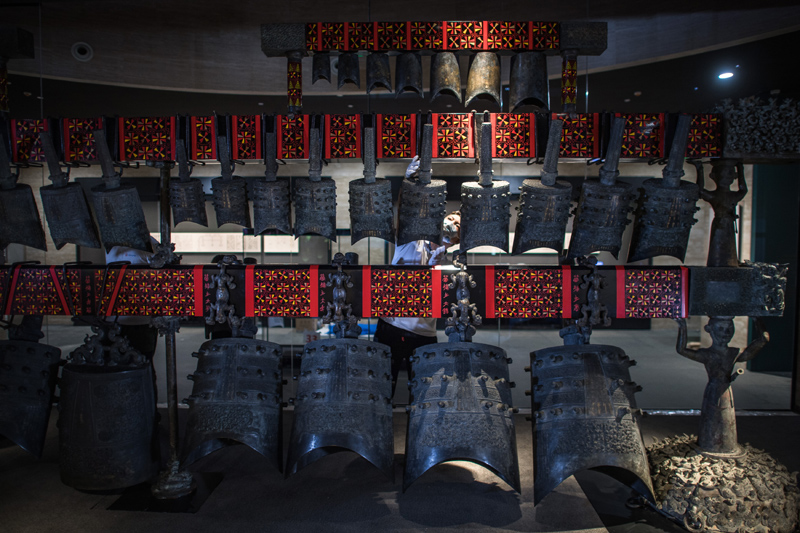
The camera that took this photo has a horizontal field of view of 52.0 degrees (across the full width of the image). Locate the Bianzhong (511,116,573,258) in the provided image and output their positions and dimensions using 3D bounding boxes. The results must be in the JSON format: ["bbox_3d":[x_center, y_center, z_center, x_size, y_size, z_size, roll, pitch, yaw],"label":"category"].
[{"bbox_3d":[1.158,-0.675,6.710,0.474,1.126,0.250,0,6,11],"label":"Bianzhong"}]

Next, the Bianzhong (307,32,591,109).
[{"bbox_3d":[0.202,-1.706,7.106,3.005,0.797,0.232,7,5,25],"label":"Bianzhong"}]

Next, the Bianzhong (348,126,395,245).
[{"bbox_3d":[-0.209,-0.674,6.812,0.386,0.931,0.383,-2,11,2],"label":"Bianzhong"}]

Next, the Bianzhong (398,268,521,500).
[{"bbox_3d":[0.493,1.194,6.611,0.884,1.120,0.494,-1,6,2],"label":"Bianzhong"}]

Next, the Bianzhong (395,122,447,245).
[{"bbox_3d":[0.219,-0.683,6.711,0.381,0.865,0.352,5,18,11],"label":"Bianzhong"}]

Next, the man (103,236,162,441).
[{"bbox_3d":[-2.632,0.559,7.988,0.583,2.242,0.753,0,2,-14],"label":"man"}]

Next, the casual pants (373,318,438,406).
[{"bbox_3d":[0.099,0.845,7.894,0.685,0.754,0.687,2,-4,-6],"label":"casual pants"}]

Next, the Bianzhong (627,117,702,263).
[{"bbox_3d":[2.130,-0.645,6.723,0.551,1.186,0.264,0,6,11],"label":"Bianzhong"}]

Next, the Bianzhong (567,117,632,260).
[{"bbox_3d":[1.623,-0.642,6.705,0.517,1.158,0.240,0,6,11],"label":"Bianzhong"}]

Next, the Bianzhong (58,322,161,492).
[{"bbox_3d":[-2.482,1.175,7.164,0.778,1.335,0.797,8,10,42],"label":"Bianzhong"}]

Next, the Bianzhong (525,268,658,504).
[{"bbox_3d":[1.518,1.272,6.652,0.940,1.233,0.525,-1,6,3],"label":"Bianzhong"}]

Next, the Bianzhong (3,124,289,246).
[{"bbox_3d":[-2.642,-0.688,6.995,1.348,1.069,0.453,-1,6,7],"label":"Bianzhong"}]

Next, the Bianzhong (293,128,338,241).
[{"bbox_3d":[-0.673,-0.690,6.814,0.352,0.934,0.240,-2,6,-5],"label":"Bianzhong"}]

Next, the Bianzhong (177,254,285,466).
[{"bbox_3d":[-1.347,0.764,6.940,0.793,1.717,0.894,-2,6,-5],"label":"Bianzhong"}]
